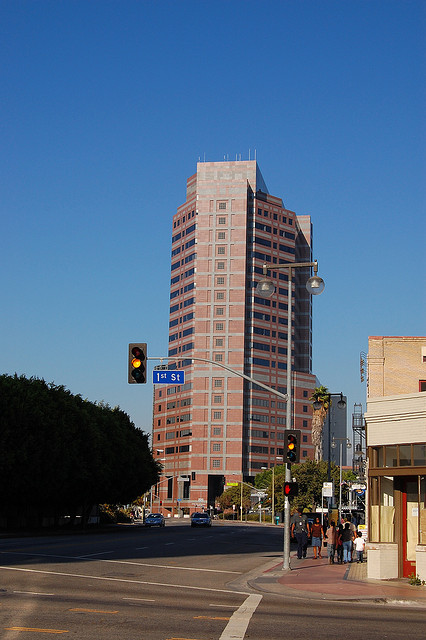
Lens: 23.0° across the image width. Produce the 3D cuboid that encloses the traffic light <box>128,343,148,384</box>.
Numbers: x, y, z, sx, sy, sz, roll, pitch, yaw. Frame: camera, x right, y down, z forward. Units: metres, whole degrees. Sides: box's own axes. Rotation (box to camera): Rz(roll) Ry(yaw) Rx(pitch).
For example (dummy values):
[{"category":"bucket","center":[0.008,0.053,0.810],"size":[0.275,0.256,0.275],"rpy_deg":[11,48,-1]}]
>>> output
[{"category":"traffic light","center":[-2.034,1.137,28.126],"size":[0.503,1.118,0.916],"rpy_deg":[5,-7,-5]}]

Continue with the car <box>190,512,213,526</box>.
[{"category":"car","center":[-0.951,15.884,83.589],"size":[1.442,0.991,1.806],"rpy_deg":[5,-7,-2]}]

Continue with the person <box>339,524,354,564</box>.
[{"category":"person","center":[4.598,7.741,36.422],"size":[0.461,1.309,1.221],"rpy_deg":[4,-7,9]}]

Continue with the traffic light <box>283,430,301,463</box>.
[{"category":"traffic light","center":[2.366,3.784,31.530],"size":[0.451,1.000,0.970],"rpy_deg":[4,-7,5]}]

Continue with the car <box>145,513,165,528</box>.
[{"category":"car","center":[-4.812,16.587,86.700],"size":[1.486,1.023,3.057],"rpy_deg":[5,-7,-4]}]
